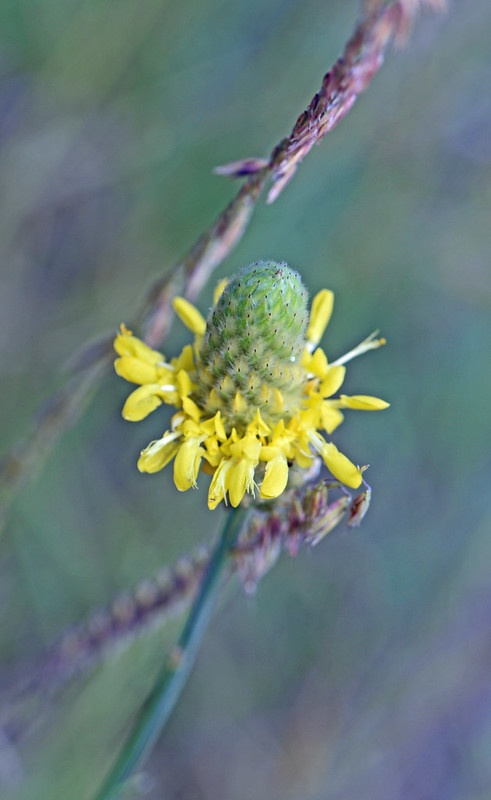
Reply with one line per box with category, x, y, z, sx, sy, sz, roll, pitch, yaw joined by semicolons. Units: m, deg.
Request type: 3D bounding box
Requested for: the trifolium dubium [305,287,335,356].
trifolium dubium;0.223;-0.217;2.106;0.056;0.061;0.225;12;89;-10
